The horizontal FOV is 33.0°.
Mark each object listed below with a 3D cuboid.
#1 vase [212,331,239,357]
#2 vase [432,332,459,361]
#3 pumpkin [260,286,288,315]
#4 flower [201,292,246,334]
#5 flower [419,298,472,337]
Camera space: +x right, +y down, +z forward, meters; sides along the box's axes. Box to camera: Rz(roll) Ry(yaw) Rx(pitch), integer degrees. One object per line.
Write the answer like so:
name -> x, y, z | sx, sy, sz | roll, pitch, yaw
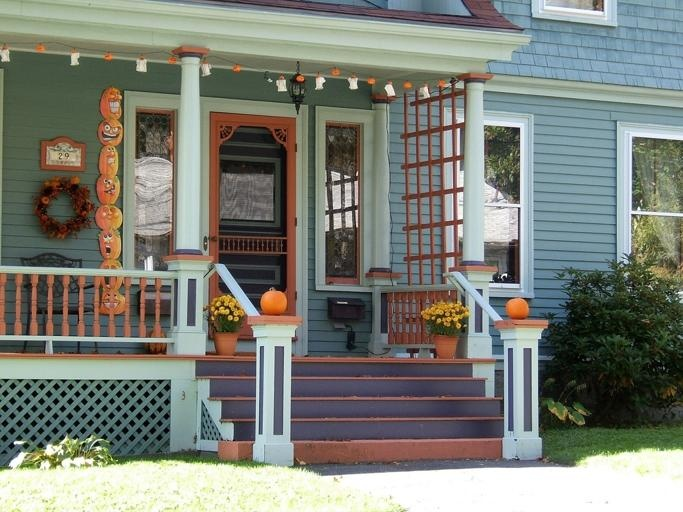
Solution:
vase -> -1.193, 0.901, 11.946 | 0.254, 0.180, 0.243 | 4, -9, -9
vase -> 1.106, 0.958, 12.371 | 0.273, 0.191, 0.263 | 0, -9, 6
pumpkin -> -0.622, 0.399, 10.616 | 0.298, 0.279, 0.281 | -6, -10, -5
flower -> -1.220, 0.590, 12.004 | 0.402, 0.402, 0.339 | 1, 3, -25
flower -> 1.130, 0.653, 12.466 | 0.397, 0.386, 0.407 | 1, 3, -31
